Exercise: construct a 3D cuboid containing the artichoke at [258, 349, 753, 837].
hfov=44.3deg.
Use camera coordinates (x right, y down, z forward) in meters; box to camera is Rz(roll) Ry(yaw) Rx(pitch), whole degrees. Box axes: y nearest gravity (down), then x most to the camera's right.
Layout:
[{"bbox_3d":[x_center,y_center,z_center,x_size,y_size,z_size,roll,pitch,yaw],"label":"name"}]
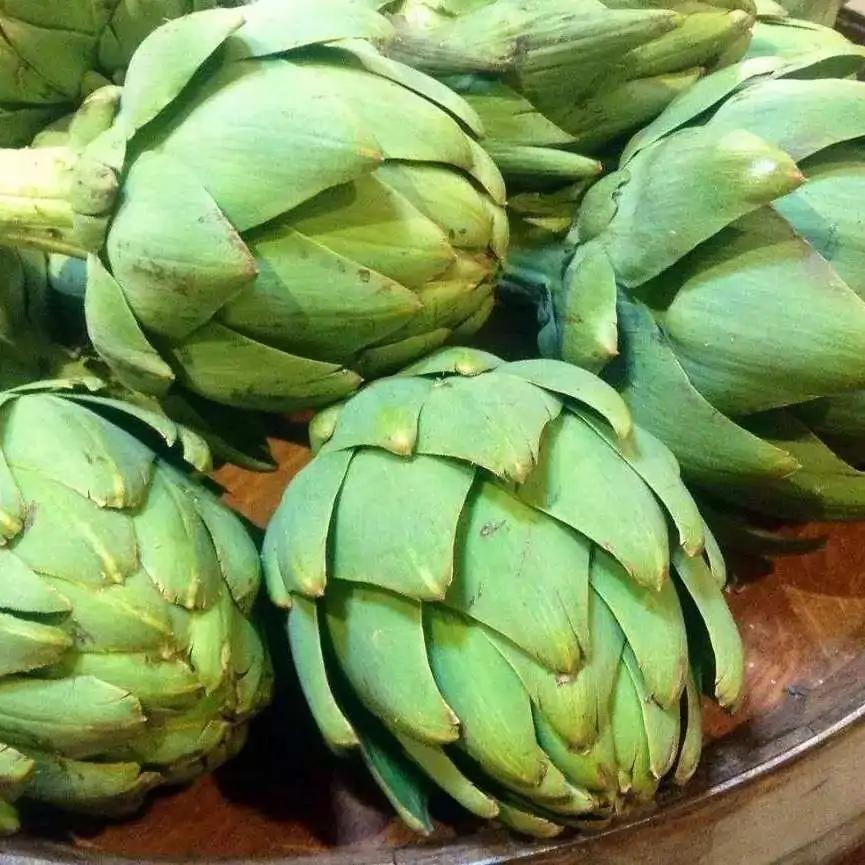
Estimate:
[{"bbox_3d":[0.063,0.165,0.956,0.370,0.431,0.346,-21,45,-8],"label":"artichoke"}]
